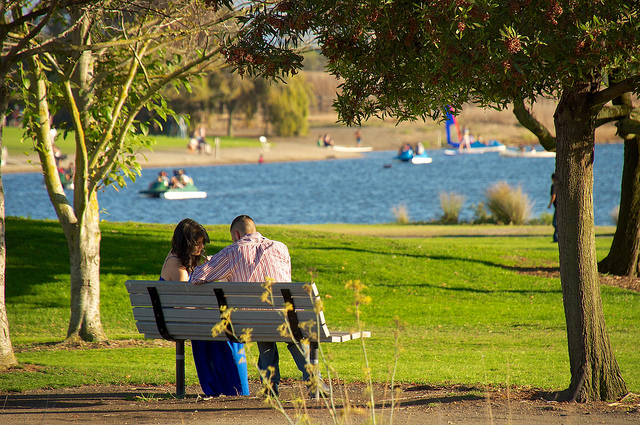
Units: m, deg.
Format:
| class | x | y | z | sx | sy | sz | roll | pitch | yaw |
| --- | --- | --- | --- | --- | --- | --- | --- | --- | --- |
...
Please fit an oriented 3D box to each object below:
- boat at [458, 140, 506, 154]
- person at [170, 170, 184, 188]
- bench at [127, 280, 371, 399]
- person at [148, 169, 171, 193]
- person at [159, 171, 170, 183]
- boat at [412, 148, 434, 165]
| class | x | y | z | sx | sy | sz | roll | pitch | yaw |
| --- | --- | --- | --- | --- | --- | --- | --- | --- | --- |
| boat | 11.779 | -5.027 | 150.471 | 4.792 | 1.505 | 1.274 | 1 | 2 | 1 |
| person | -6.830 | -1.542 | 94.182 | 0.596 | 0.749 | 0.674 | -3 | 0 | 34 |
| bench | -2.261 | 3.653 | 57.329 | 6.499 | 3.241 | 2.419 | 0 | 1 | 31 |
| person | -7.768 | -1.547 | 93.757 | 0.845 | 1.283 | 1.337 | 3 | 5 | 8 |
| person | -7.575 | -1.825 | 96.202 | 0.417 | 0.532 | 1.666 | 20 | 4 | 12 |
| boat | 6.608 | -3.644 | 126.314 | 0.629 | 0.882 | 2.198 | 1 | 8 | 13 |
